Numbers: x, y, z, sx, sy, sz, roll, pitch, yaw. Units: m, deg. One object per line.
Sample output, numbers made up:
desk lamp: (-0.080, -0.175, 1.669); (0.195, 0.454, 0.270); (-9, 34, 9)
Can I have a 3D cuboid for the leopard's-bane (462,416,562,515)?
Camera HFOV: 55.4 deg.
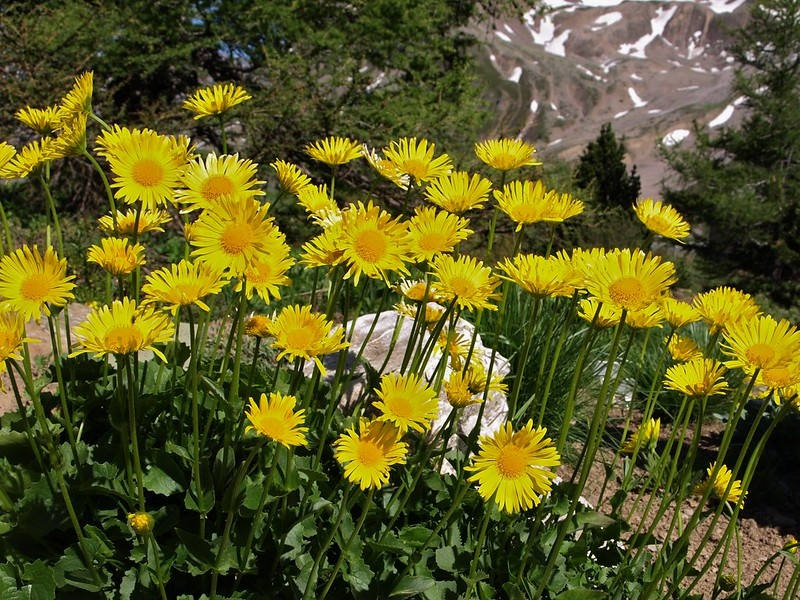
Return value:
leopard's-bane: (0.477, 0.627, 3.190); (0.350, 0.164, 0.384); (5, 15, 28)
